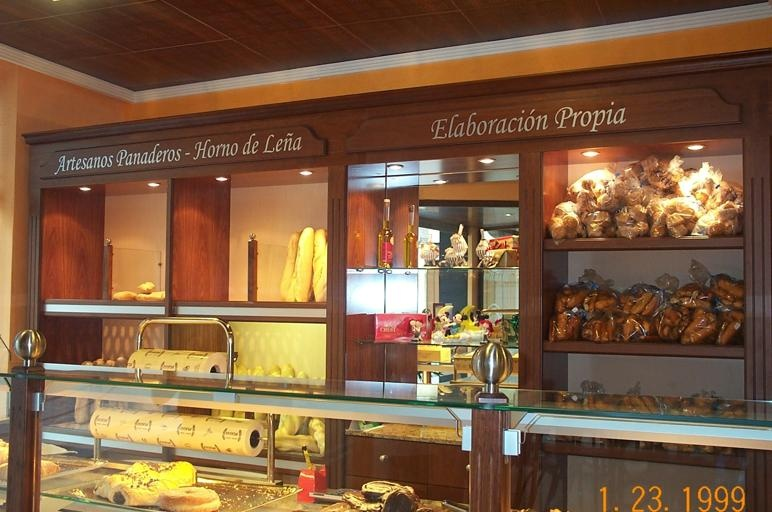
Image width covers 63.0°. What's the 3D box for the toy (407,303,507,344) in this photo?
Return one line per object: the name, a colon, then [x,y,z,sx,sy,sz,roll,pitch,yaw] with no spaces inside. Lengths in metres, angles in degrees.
toy: [0.513,0.456,4.294,0.688,0.242,0.150,0,-6,16]
